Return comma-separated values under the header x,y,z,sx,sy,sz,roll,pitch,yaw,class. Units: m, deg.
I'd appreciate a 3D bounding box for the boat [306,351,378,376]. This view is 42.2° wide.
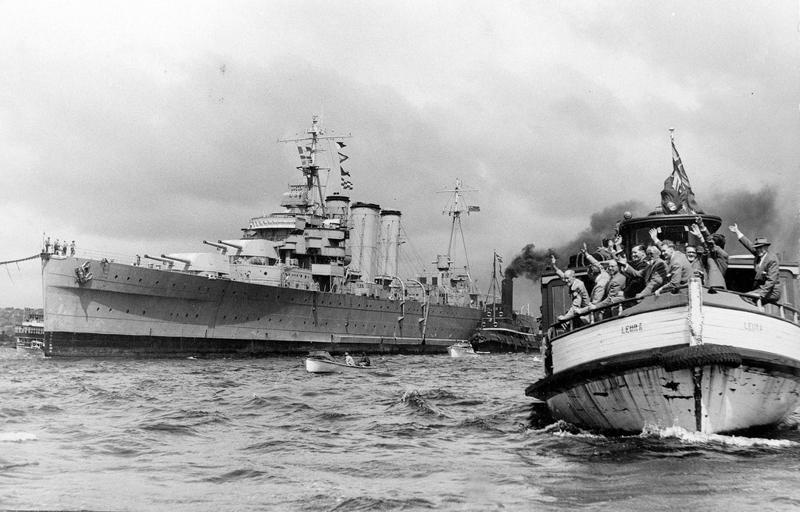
x,y,z,sx,sy,sz,roll,pitch,yaw,class
-2.444,4.607,44.575,3.422,0.907,1.103,15,-14,-43,boat
